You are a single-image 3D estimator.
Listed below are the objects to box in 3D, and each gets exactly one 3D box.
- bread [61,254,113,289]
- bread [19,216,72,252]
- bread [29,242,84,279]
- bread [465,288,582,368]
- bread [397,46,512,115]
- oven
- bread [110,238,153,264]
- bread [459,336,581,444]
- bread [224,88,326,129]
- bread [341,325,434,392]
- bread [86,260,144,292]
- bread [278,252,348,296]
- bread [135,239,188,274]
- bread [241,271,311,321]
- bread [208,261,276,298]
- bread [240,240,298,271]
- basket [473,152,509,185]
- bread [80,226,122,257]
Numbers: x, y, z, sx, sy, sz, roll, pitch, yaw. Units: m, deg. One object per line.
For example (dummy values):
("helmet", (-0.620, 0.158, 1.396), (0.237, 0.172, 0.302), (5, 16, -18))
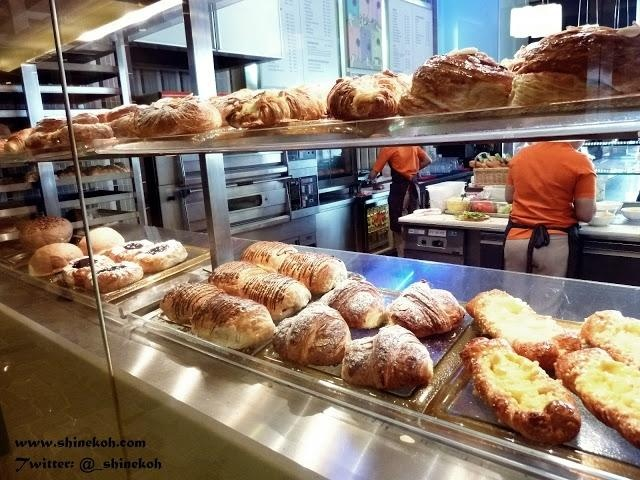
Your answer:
("bread", (-0.742, 0.079, 1.319), (0.174, 0.053, 0.125), (-9, 40, -21))
("bread", (-0.855, -0.015, 1.318), (0.173, 0.095, 0.162), (-12, 3, -32))
("bread", (-0.894, 0.053, 1.343), (0.150, 0.071, 0.132), (-5, 22, 8))
("bread", (0.451, 0.185, 0.915), (0.143, 0.041, 0.234), (-15, 27, -14))
("bread", (0.233, -0.252, 0.685), (0.173, 0.054, 0.112), (1, 33, 26))
("oven", (-0.661, -0.434, 3.460), (0.526, 0.590, 1.400), (10, 18, 39))
("bread", (-0.722, 0.042, 1.521), (0.089, 0.030, 0.103), (-13, 17, -41))
("bread", (0.361, 0.259, 0.734), (0.129, 0.063, 0.232), (-15, 20, -2))
("bread", (-0.102, -0.309, 0.962), (0.212, 0.057, 0.144), (-9, 14, -24))
("bread", (0.131, 0.230, 0.858), (0.229, 0.069, 0.201), (-6, 12, 27))
("bread", (-0.690, 0.105, 1.357), (0.138, 0.054, 0.179), (22, 23, 17))
("bread", (-0.015, 0.090, 1.226), (0.182, 0.054, 0.127), (12, 25, 32))
("bread", (-0.608, 0.057, 1.506), (0.148, 0.056, 0.187), (15, 31, 23))
("bread", (-0.131, 0.123, 1.155), (0.152, 0.059, 0.210), (-23, 37, -35))
("bread", (-0.286, 0.142, 1.266), (0.152, 0.058, 0.202), (5, -17, 30))
("bread", (-0.165, 0.043, 1.360), (0.155, 0.042, 0.110), (6, 17, 31))
("basket", (1.353, -0.564, 3.219), (0.323, 0.179, 0.314), (8, 14, 34))
("bread", (-0.732, 0.006, 1.343), (0.103, 0.058, 0.121), (-9, 6, 38))
